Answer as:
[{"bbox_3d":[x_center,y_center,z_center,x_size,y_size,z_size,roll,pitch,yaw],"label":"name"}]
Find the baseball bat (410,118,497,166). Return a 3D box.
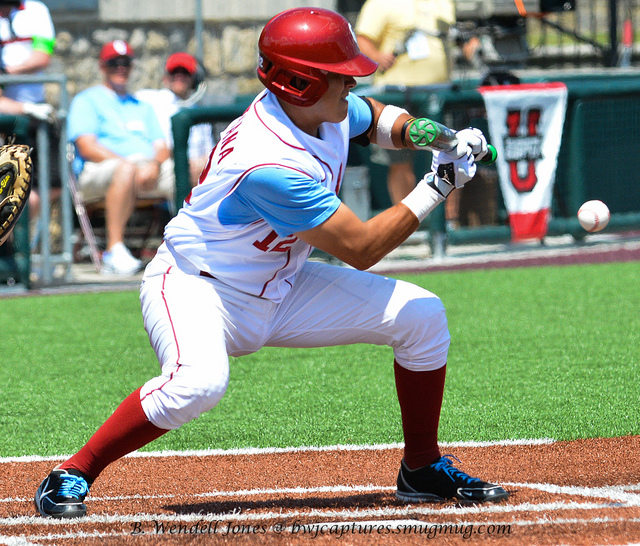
[{"bbox_3d":[0.510,-0.468,4.093,0.332,0.086,0.068,11,-28,-36],"label":"baseball bat"}]

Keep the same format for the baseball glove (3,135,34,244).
[{"bbox_3d":[-1.103,-0.318,4.096,0.127,0.371,0.211,-5,12,-13],"label":"baseball glove"}]

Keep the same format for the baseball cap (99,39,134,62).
[{"bbox_3d":[-1.334,-1.404,7.253,0.171,0.074,0.234,-20,26,-25],"label":"baseball cap"}]

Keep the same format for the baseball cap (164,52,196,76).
[{"bbox_3d":[-1.001,-1.502,8.091,0.211,0.147,0.262,-3,11,-5],"label":"baseball cap"}]

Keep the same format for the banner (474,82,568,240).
[{"bbox_3d":[1.324,-0.713,7.207,0.611,0.987,0.261,-7,13,-26],"label":"banner"}]

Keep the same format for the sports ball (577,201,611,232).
[{"bbox_3d":[1.120,-0.234,4.608,0.127,0.121,0.133,-2,11,0],"label":"sports ball"}]
